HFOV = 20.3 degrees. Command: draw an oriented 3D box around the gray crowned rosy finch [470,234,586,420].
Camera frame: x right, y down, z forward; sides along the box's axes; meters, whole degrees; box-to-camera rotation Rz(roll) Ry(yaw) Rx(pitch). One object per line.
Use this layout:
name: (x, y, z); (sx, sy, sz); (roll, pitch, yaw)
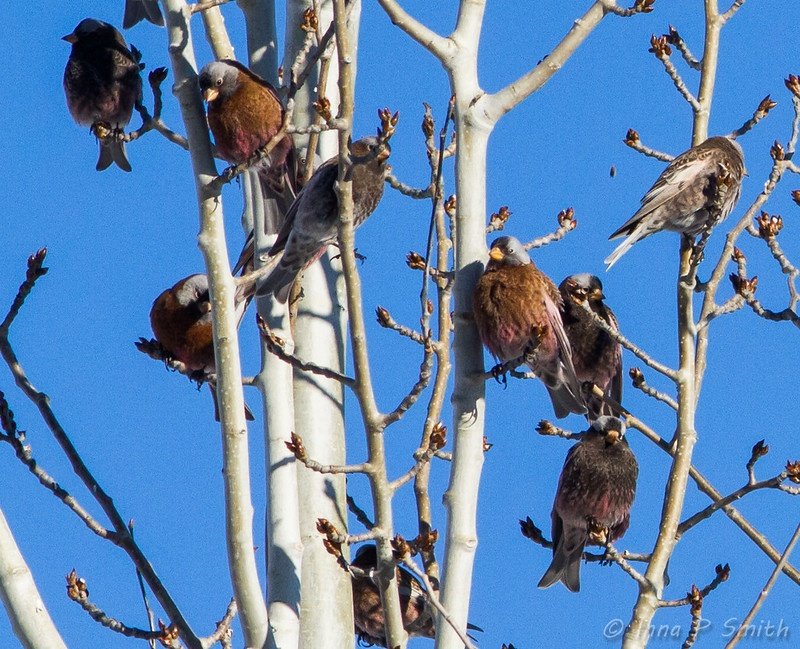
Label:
gray crowned rosy finch: (0.706, -0.053, 11.912); (0.396, 0.765, 0.770); (-2, -13, 37)

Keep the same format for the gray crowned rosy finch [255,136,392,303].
gray crowned rosy finch: (-0.452, -0.573, 11.498); (0.940, 0.449, 0.332); (-38, -17, -2)
